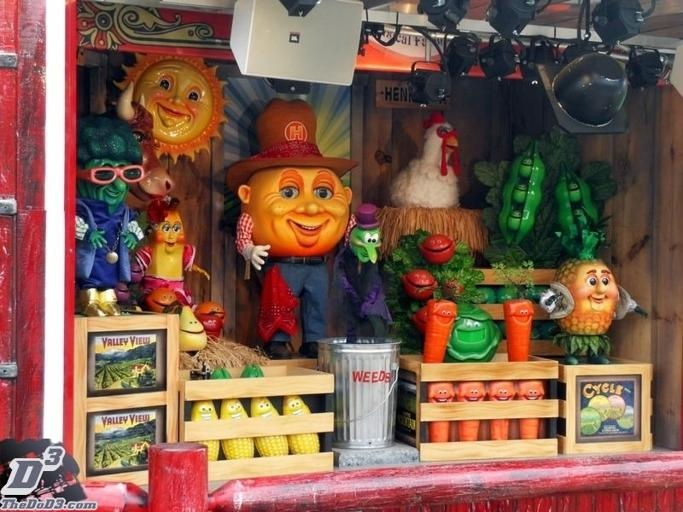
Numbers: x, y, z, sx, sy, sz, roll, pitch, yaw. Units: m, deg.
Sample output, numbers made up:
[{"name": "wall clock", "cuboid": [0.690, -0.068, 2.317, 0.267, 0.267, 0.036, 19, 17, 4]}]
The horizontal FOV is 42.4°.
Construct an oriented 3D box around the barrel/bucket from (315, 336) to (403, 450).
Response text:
[{"name": "barrel/bucket", "cuboid": [0.187, 0.784, 5.062, 0.557, 0.556, 0.509, 0, -1, 0]}]
